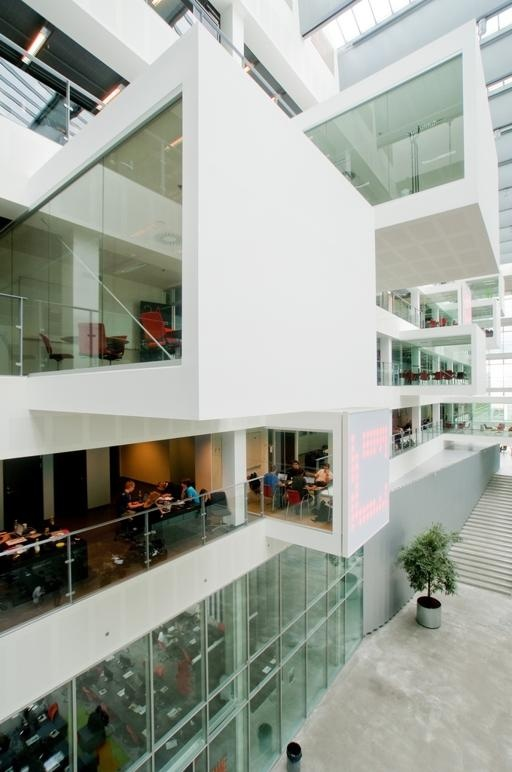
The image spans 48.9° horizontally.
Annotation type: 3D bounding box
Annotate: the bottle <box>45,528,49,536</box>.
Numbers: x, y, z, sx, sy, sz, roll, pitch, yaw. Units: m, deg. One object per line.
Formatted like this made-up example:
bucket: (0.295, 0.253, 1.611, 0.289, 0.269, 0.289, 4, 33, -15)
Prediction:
bottle: (-3.284, 2.284, 8.880, 0.068, 0.124, 0.120, 1, -18, -12)

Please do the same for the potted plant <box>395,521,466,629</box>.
potted plant: (4.164, 4.454, 13.414, 1.255, 2.257, 1.833, -1, 5, 20)

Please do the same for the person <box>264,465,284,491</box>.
person: (0.326, 1.611, 9.833, 0.286, 0.745, 0.189, 4, 9, 33)
